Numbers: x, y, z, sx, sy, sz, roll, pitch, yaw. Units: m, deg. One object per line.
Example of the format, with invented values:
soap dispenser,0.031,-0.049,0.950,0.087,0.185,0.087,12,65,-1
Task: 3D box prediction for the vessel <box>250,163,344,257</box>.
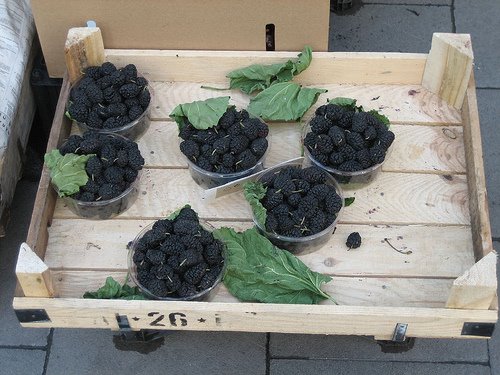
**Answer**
vessel,0.264,0.104,2.590,0.469,0.343,0.449,15,61,9
